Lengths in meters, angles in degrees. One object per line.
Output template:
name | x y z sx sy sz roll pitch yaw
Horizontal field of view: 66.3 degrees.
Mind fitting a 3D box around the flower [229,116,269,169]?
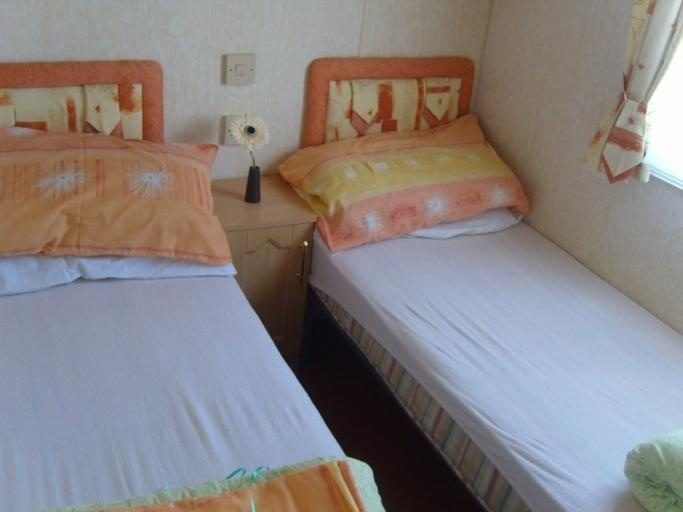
flower | -0.413 -0.511 2.371 0.176 0.234 0.140 -6 21 -29

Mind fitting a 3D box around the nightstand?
nightstand | -0.424 0.020 2.677 0.461 0.901 0.551 -10 47 -24
